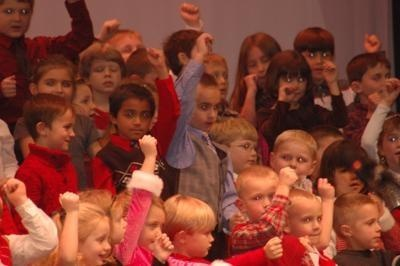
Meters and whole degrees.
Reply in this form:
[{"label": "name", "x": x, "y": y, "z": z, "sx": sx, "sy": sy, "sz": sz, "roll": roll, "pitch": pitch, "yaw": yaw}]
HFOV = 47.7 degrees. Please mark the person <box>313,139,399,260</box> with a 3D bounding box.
[{"label": "person", "x": 1.468, "y": 0.543, "z": 4.012, "sx": 0.674, "sy": 1.037, "sz": 0.379, "roll": -8, "pitch": -17, "yaw": 3}]
